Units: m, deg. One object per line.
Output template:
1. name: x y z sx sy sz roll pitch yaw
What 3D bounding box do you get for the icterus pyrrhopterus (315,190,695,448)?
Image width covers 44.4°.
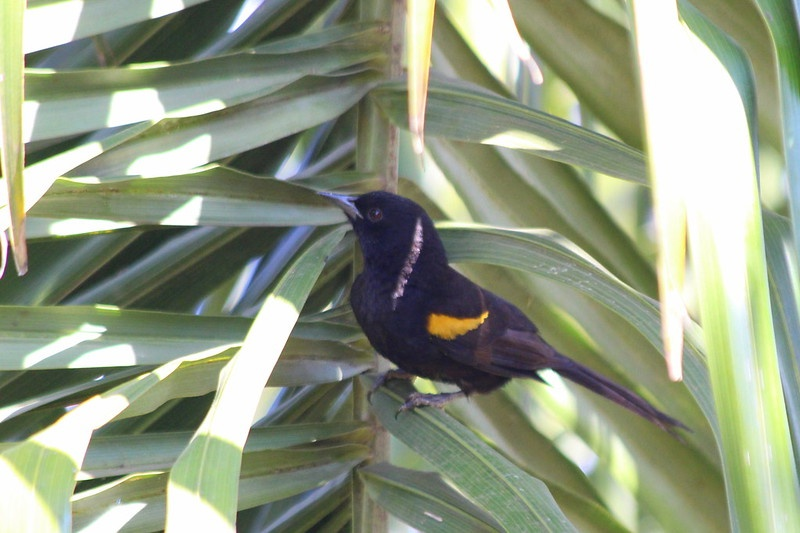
1. icterus pyrrhopterus: 0.381 0.143 3.062 1.401 0.673 0.405 9 -10 -26
